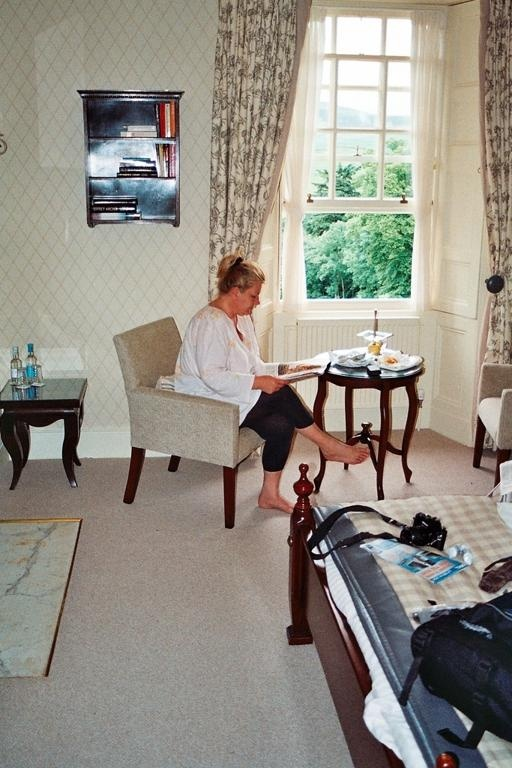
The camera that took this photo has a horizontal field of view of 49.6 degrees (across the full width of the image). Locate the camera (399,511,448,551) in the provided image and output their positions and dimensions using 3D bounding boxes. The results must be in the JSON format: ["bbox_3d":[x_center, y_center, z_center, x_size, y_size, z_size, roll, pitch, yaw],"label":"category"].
[{"bbox_3d":[0.472,0.415,1.536,0.074,0.053,0.127,10,-12,5],"label":"camera"}]

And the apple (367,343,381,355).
[{"bbox_3d":[0.715,-0.209,3.372,0.066,0.074,0.063,0,3,-5],"label":"apple"}]

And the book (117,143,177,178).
[{"bbox_3d":[-0.699,-1.418,3.528,0.219,0.158,0.121,1,-2,-3],"label":"book"}]

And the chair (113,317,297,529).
[{"bbox_3d":[-0.299,0.022,3.483,1.014,1.405,0.953,9,21,18],"label":"chair"}]

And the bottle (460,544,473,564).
[{"bbox_3d":[0.553,0.451,1.458,0.026,0.010,0.035,-26,44,23],"label":"bottle"}]

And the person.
[{"bbox_3d":[0.113,0.024,3.030,1.093,1.400,0.593,8,16,22],"label":"person"}]
